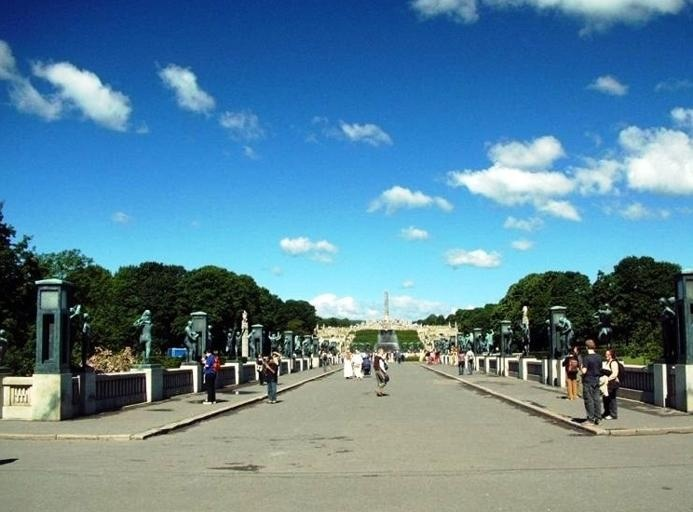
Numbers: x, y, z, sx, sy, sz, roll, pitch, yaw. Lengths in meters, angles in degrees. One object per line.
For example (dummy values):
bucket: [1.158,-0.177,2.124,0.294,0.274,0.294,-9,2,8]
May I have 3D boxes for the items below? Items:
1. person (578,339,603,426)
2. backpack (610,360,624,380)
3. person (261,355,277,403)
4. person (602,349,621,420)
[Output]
person: [6.598,3.488,18.846,0.527,1.875,0.786,-5,-10,19]
backpack: [7.808,3.276,20.398,0.358,0.644,0.576,0,0,11]
person: [-2.854,4.646,27.003,0.421,1.817,1.570,-1,-10,-9]
person: [7.521,3.592,20.087,0.491,1.963,1.321,-6,-10,22]
